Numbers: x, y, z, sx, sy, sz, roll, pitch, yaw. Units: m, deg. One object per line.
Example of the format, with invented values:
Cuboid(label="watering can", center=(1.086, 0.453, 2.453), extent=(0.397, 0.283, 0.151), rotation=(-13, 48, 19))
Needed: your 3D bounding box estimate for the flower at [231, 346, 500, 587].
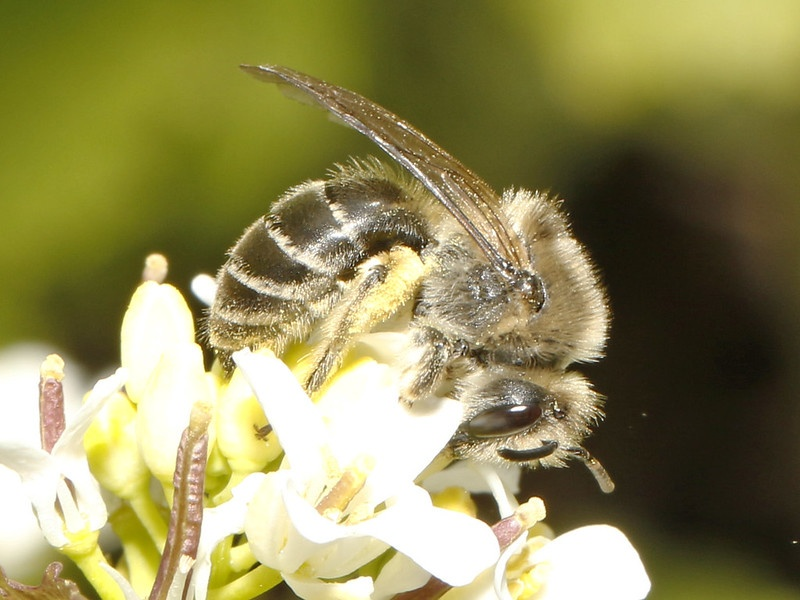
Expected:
Cuboid(label="flower", center=(-0.059, 0.231, 1.344), extent=(0.328, 0.216, 0.369), rotation=(-13, 80, 0))
